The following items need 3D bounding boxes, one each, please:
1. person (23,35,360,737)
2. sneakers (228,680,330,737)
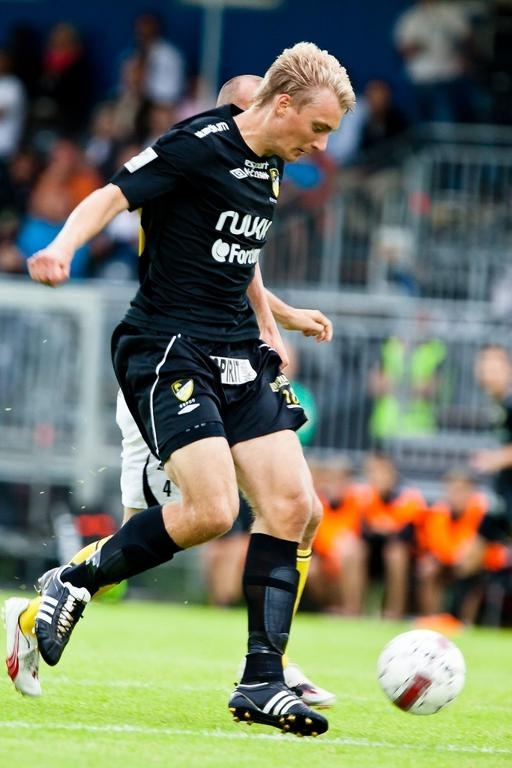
[{"bbox_3d":[-0.168,-0.052,2.492,0.745,1.721,0.606,5,-1,-10],"label":"person"},{"bbox_3d":[0.060,0.791,2.336,0.273,0.127,0.093,3,-15,28],"label":"sneakers"}]
